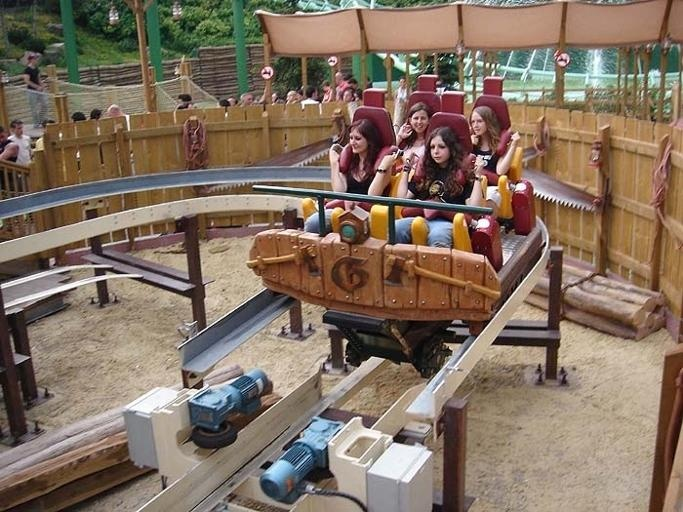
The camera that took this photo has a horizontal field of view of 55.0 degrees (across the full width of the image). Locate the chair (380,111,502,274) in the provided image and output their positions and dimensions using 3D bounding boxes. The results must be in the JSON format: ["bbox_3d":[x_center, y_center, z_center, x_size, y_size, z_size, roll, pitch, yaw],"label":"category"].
[{"bbox_3d":[0.790,-0.505,5.967,1.263,1.439,1.152,4,18,28],"label":"chair"}]

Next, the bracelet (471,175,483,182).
[{"bbox_3d":[1.229,-0.709,5.942,0.066,0.064,0.162,0,17,7],"label":"bracelet"}]

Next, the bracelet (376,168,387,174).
[{"bbox_3d":[0.371,-0.786,5.980,0.085,0.052,0.072,0,17,4],"label":"bracelet"}]

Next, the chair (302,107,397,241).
[{"bbox_3d":[0.089,-0.772,6.067,0.787,1.215,0.974,4,10,10],"label":"chair"}]
